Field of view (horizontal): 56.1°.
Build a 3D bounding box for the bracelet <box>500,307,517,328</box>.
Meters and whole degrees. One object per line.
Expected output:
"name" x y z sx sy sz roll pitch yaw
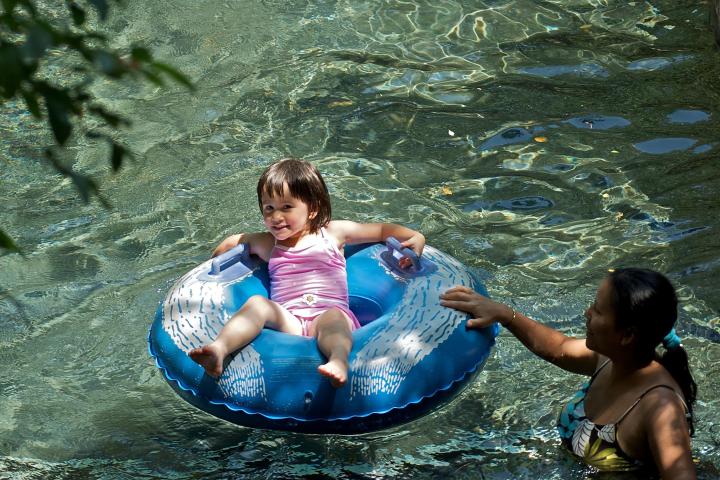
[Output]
"bracelet" 0.827 0.423 3.754 0.122 0.031 0.098 -21 35 24
